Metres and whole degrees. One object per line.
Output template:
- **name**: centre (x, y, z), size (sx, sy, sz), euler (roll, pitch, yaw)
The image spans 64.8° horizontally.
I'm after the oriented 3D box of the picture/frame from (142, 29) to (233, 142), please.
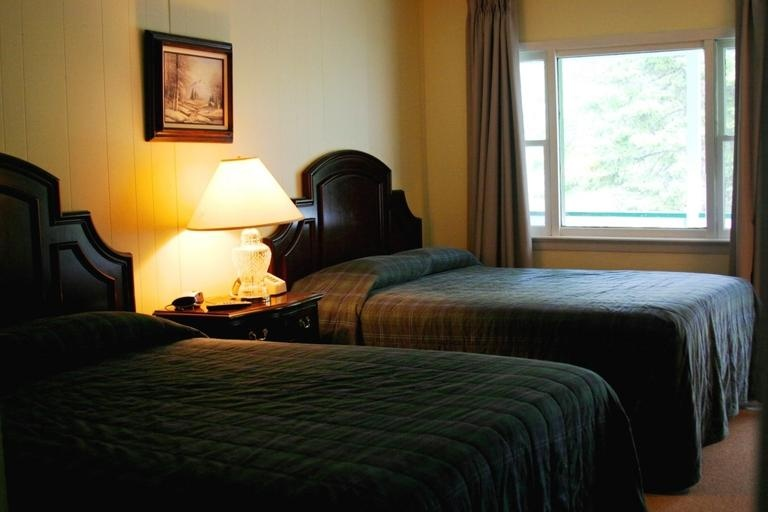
- **picture/frame**: centre (-1.190, -1.027, 3.605), size (0.060, 0.755, 0.736), euler (2, 4, 33)
